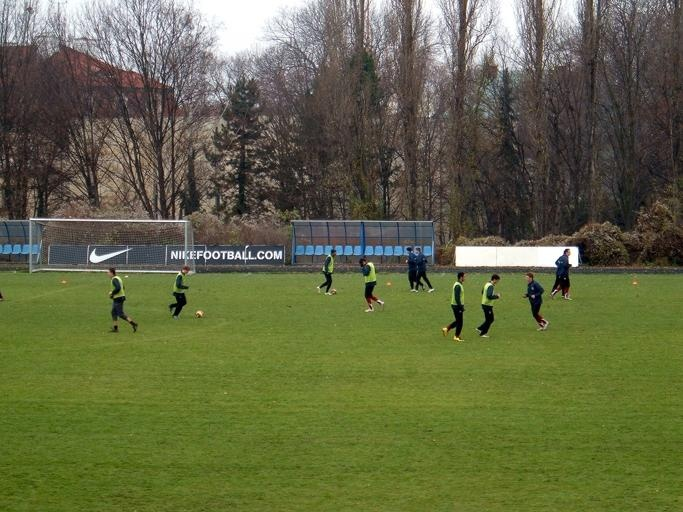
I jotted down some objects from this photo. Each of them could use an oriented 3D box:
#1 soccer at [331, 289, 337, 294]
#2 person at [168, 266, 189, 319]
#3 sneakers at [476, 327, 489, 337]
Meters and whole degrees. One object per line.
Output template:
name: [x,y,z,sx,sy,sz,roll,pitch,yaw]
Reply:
soccer: [-0.387,1.778,60.470,0.176,0.249,0.425,2,-5,-25]
person: [-7.699,1.796,56.860,1.192,2.744,1.118,-2,30,-8]
sneakers: [5.940,3.257,50.548,0.268,0.635,0.215,-41,18,10]
